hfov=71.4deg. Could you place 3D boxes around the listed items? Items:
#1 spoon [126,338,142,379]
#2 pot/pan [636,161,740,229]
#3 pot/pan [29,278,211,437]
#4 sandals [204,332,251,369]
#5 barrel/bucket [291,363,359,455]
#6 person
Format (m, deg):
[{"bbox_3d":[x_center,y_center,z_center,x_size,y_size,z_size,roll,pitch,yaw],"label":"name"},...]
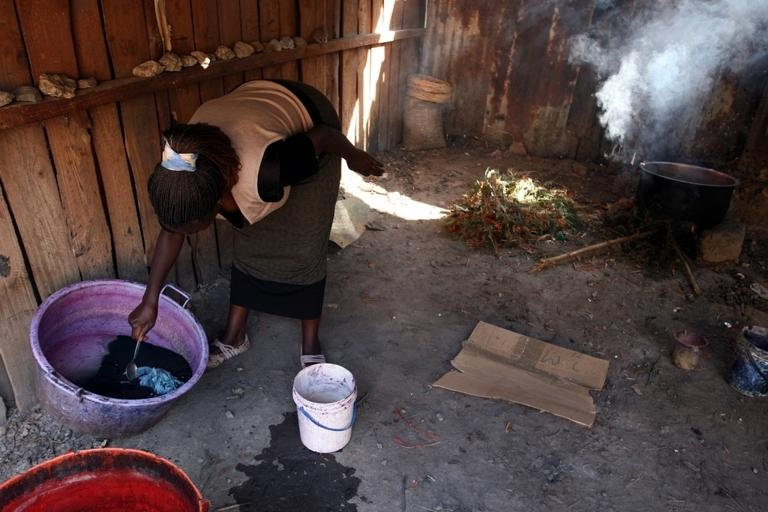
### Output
[{"bbox_3d":[-1.785,0.736,3.798,0.061,0.042,0.307,9,65,-17],"label":"spoon"},{"bbox_3d":[3.171,-0.664,5.653,0.894,0.541,0.787,21,32,22],"label":"pot/pan"},{"bbox_3d":[-1.818,0.633,3.567,1.003,0.486,1.019,33,28,9],"label":"pot/pan"},{"bbox_3d":[-1.243,0.747,4.264,0.300,0.091,0.148,-32,66,-28],"label":"sandals"},{"bbox_3d":[-0.411,1.052,3.731,0.431,0.480,0.386,2,30,-9],"label":"barrel/bucket"},{"bbox_3d":[-0.915,-0.086,3.775,1.530,2.104,0.765,-11,35,-29],"label":"person"}]
